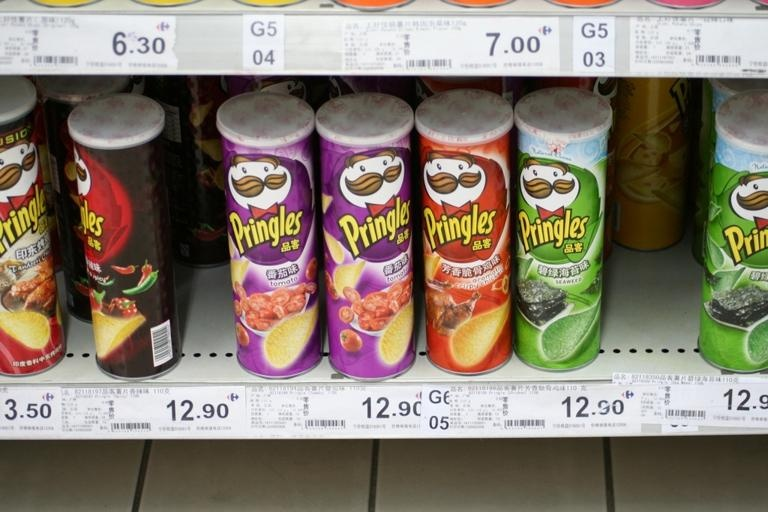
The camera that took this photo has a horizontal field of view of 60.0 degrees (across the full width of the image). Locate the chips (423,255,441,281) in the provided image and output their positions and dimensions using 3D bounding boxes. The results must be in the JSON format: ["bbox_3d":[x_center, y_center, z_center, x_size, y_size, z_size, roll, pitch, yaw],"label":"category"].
[{"bbox_3d":[0.085,0.021,1.172,0.029,0.042,0.044,2,20,13],"label":"chips"}]

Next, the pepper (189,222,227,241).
[{"bbox_3d":[-0.381,-0.057,1.434,0.072,0.031,0.013,-5,68,-10],"label":"pepper"}]
